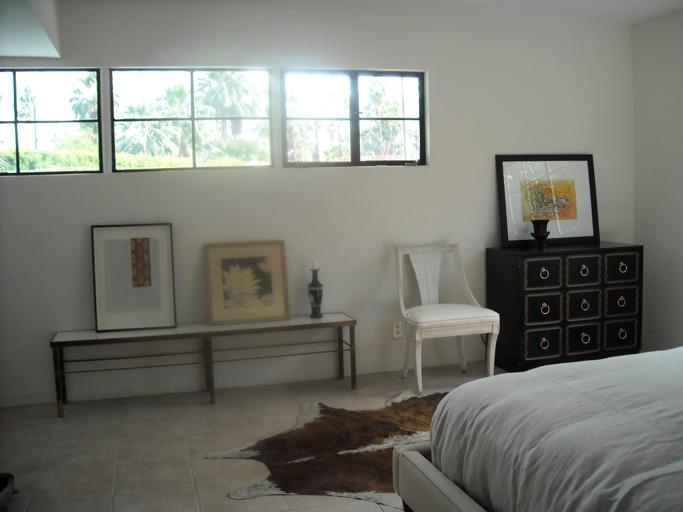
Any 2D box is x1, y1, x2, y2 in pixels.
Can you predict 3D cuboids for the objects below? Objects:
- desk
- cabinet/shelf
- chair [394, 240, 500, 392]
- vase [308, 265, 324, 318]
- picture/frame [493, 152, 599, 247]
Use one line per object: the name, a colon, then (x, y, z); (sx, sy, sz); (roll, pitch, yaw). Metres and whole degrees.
desk: (-1.038, 0.846, 4.217); (2.267, 0.602, 0.495); (-2, 1, -18)
cabinet/shelf: (2.031, 0.426, 4.739); (1.105, 1.021, 0.651); (-5, 9, -3)
chair: (0.860, 0.495, 4.459); (0.705, 1.192, 0.854); (-2, 3, -2)
vase: (-0.215, 0.299, 4.351); (0.126, 0.408, 0.141); (2, 11, 19)
picture/frame: (1.820, -0.502, 4.829); (0.807, 0.746, 0.034); (0, -8, -16)
